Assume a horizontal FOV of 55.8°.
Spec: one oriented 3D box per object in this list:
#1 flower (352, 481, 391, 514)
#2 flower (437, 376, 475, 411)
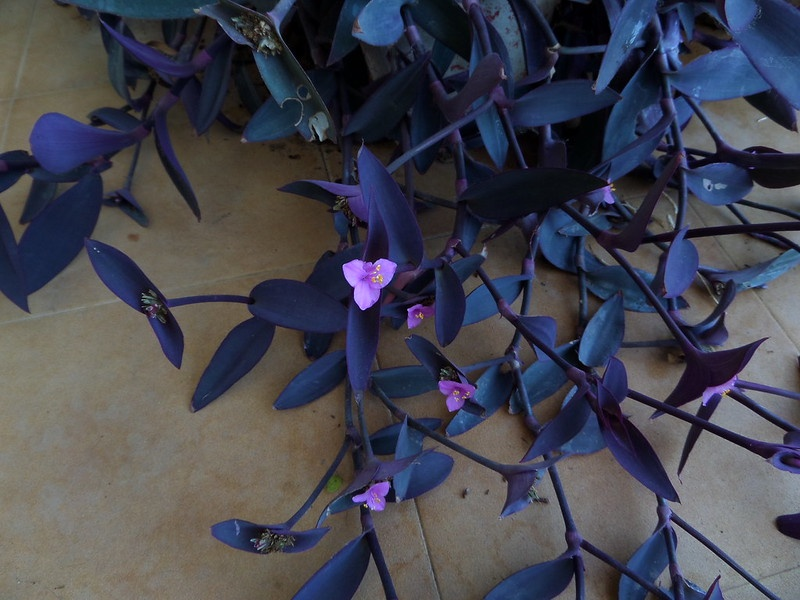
[{"bbox_3d":[-0.038,0.274,1.055,0.017,0.048,0.044,16,15,38],"label":"flower"},{"bbox_3d":[0.086,0.138,1.141,0.045,0.049,0.021,53,44,-5],"label":"flower"}]
